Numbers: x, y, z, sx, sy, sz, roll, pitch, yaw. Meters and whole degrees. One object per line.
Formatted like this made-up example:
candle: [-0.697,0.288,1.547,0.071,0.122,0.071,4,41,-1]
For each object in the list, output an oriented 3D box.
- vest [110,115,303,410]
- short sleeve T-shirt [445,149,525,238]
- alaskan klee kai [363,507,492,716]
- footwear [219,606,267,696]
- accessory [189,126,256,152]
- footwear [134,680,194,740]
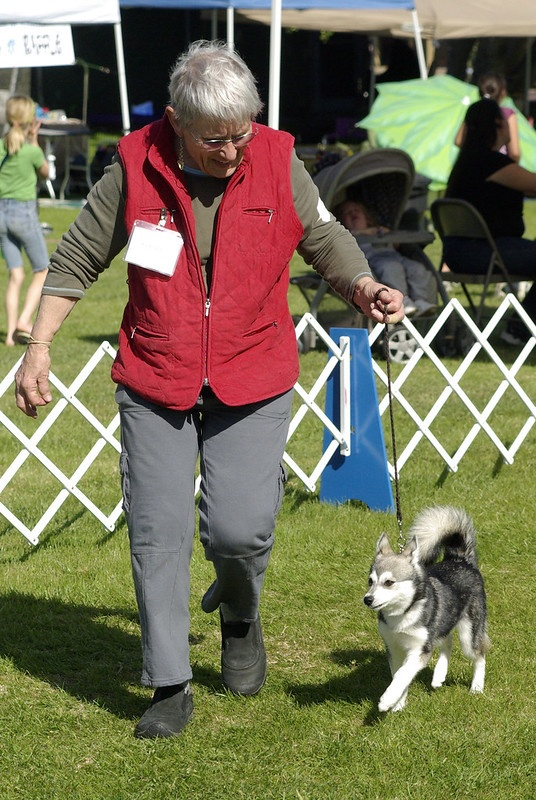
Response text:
vest: [-0.141,-0.360,2.316,0.524,0.718,0.326,2,19,-10]
short sleeve T-shirt: [1.724,-1.677,7.078,0.562,0.644,0.661,3,22,13]
alaskan klee kai: [0.440,0.629,2.638,0.278,0.551,0.625,4,2,34]
footwear: [-0.065,0.775,2.703,0.106,0.287,0.113,-1,32,10]
accessory: [-0.097,-0.630,2.117,0.156,0.056,0.052,-4,20,-27]
footwear: [-0.265,0.857,2.460,0.086,0.148,0.221,11,8,6]
